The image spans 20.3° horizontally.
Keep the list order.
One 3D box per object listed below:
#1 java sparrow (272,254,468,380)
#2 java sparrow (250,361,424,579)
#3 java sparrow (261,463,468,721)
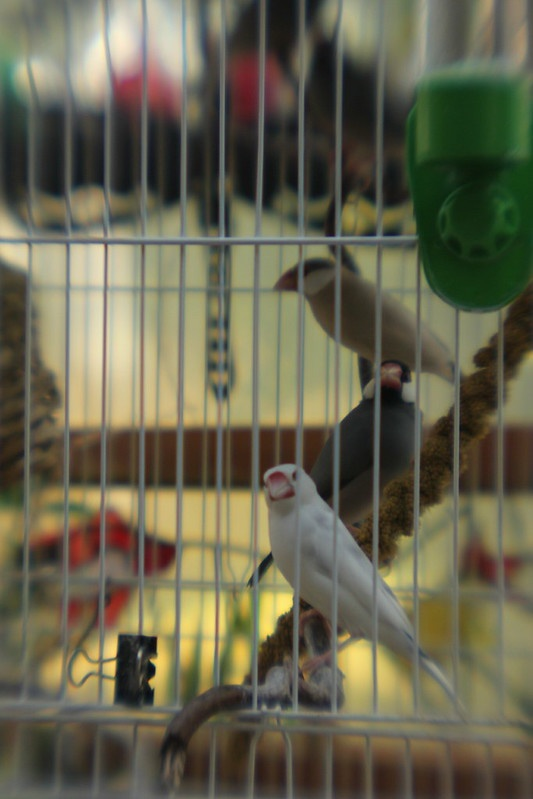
[{"bbox_3d":[0.118,-0.115,1.484,0.223,0.085,0.136,-8,-68,-19],"label":"java sparrow"},{"bbox_3d":[0.065,0.065,1.505,0.213,0.069,0.168,-26,-95,34],"label":"java sparrow"},{"bbox_3d":[0.083,0.161,1.283,0.199,0.155,0.075,20,-29,-3],"label":"java sparrow"}]
